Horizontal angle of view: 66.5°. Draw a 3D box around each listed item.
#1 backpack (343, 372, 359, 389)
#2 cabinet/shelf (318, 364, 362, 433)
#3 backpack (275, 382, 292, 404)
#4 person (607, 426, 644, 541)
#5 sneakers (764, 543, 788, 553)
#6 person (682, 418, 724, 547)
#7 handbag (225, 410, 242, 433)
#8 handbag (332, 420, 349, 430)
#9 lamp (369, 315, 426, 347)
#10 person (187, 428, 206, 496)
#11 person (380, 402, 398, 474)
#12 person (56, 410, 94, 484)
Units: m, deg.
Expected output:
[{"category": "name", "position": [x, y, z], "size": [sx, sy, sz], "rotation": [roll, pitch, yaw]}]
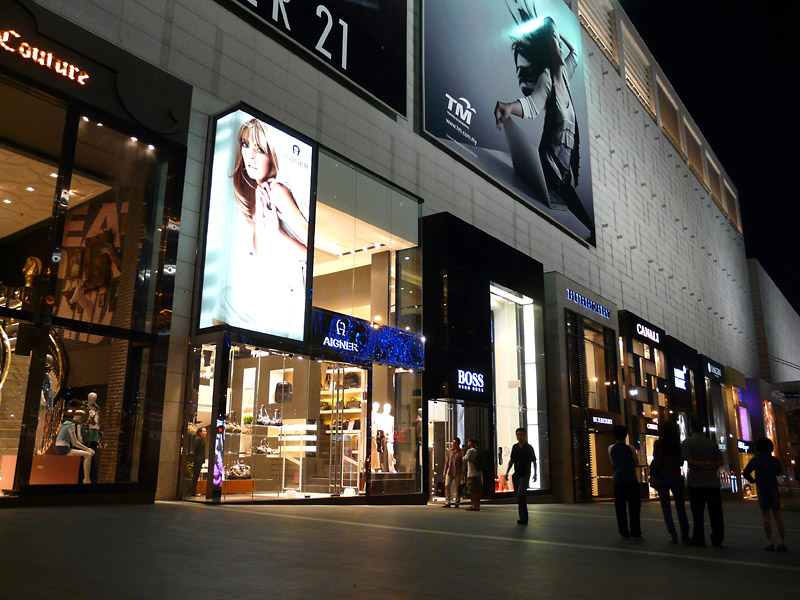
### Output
[{"category": "backpack", "position": [-1.206, 1.979, 14.641], "size": [0.291, 0.428, 0.413], "rotation": [-11, -13, 32]}, {"category": "cabinet/shelf", "position": [-1.507, 2.172, 14.609], "size": [0.848, 1.313, 0.844], "rotation": [-21, -25, 25]}, {"category": "backpack", "position": [-2.501, 1.975, 13.063], "size": [0.281, 0.429, 0.377], "rotation": [4, -5, -5]}, {"category": "person", "position": [3.433, 2.733, 9.348], "size": [0.393, 1.693, 1.018], "rotation": [-5, -19, 19]}, {"category": "sneakers", "position": [5.093, 3.367, 8.300], "size": [0.355, 0.169, 0.148], "rotation": [13, -23, -20]}, {"category": "person", "position": [4.296, 2.668, 8.723], "size": [0.675, 1.548, 0.421], "rotation": [9, -19, -23]}, {"category": "handbag", "position": [-3.250, 2.367, 11.894], "size": [0.200, 0.372, 0.345], "rotation": [4, 2, -16]}, {"category": "handbag", "position": [-1.372, 2.878, 14.027], "size": [0.235, 0.244, 0.056], "rotation": [6, -6, -39]}, {"category": "lamp", "position": [-0.137, 0.794, 15.769], "size": [1.034, 0.621, 0.219], "rotation": [8, -17, -44]}, {"category": "person", "position": [-3.854, 3.046, 11.602], "size": [0.431, 1.207, 0.164], "rotation": [-12, -22, 36]}, {"category": "person", "position": [-0.285, 3.377, 14.999], "size": [0.246, 1.589, 0.743], "rotation": [-11, -22, 35]}, {"category": "person", "position": [-5.587, 2.496, 10.553], "size": [0.224, 1.224, 0.723], "rotation": [-8, -20, 28]}]
